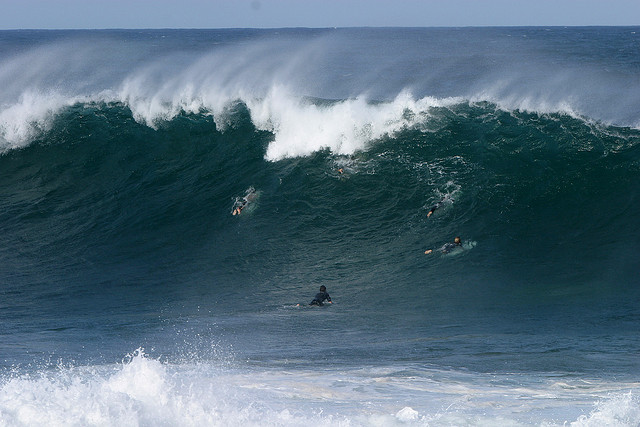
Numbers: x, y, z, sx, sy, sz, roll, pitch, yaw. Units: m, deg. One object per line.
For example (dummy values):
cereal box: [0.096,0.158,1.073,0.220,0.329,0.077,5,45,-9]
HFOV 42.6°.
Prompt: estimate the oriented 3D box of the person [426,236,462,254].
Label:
person: [6.474,1.633,42.302,1.447,0.443,0.901,-21,17,3]

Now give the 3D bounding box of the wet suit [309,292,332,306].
wet suit: [0.048,4.191,40.292,1.029,0.687,0.238,4,8,-6]

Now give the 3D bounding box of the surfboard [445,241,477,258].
surfboard: [7.345,1.669,42.097,1.182,0.314,0.738,-24,24,-1]

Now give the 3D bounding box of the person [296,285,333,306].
person: [0.098,4.011,40.347,1.094,0.949,0.379,5,8,0]
